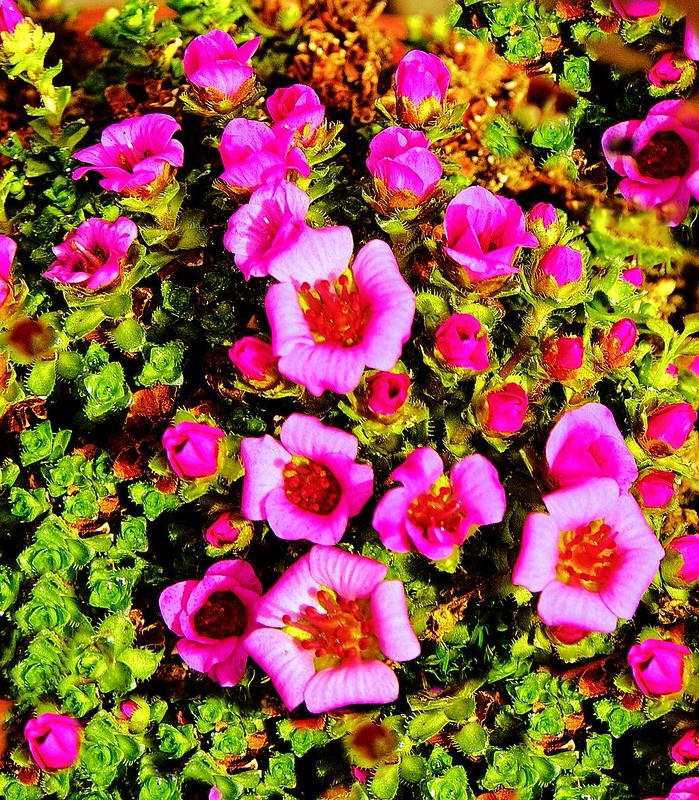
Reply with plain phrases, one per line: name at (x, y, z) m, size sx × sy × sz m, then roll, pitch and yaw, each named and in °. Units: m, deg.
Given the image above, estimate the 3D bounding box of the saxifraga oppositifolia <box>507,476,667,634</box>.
saxifraga oppositifolia at (0.402, 0.288, 1.804) m, size 0.301 × 0.119 × 0.295 m, roll -28°, pitch 88°, yaw -19°

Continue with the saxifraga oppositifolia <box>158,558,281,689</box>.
saxifraga oppositifolia at (-0.267, 0.461, 1.955) m, size 0.242 × 0.112 × 0.256 m, roll -14°, pitch 78°, yaw 14°

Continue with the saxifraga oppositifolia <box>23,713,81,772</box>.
saxifraga oppositifolia at (-0.619, 0.718, 1.977) m, size 0.093 × 0.091 × 0.086 m, roll 31°, pitch 70°, yaw 36°

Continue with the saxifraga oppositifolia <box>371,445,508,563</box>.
saxifraga oppositifolia at (0.156, 0.195, 1.752) m, size 0.243 × 0.181 × 0.184 m, roll -30°, pitch 70°, yaw -12°

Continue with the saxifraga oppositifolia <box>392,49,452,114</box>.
saxifraga oppositifolia at (0.157, -0.688, 2.028) m, size 0.116 × 0.124 × 0.099 m, roll -2°, pitch 67°, yaw 0°

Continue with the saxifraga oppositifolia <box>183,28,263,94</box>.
saxifraga oppositifolia at (-0.275, -0.737, 2.023) m, size 0.158 × 0.099 × 0.141 m, roll -3°, pitch 67°, yaw -1°

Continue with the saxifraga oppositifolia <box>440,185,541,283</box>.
saxifraga oppositifolia at (0.265, -0.307, 1.827) m, size 0.173 × 0.183 × 0.208 m, roll 1°, pitch 67°, yaw 1°

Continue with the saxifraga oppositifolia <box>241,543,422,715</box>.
saxifraga oppositifolia at (-0.024, 0.451, 1.776) m, size 0.289 × 0.243 × 0.307 m, roll -36°, pitch 71°, yaw -14°

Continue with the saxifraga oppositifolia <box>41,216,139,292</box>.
saxifraga oppositifolia at (-0.528, -0.299, 1.943) m, size 0.180 × 0.099 × 0.151 m, roll 10°, pitch 67°, yaw 4°

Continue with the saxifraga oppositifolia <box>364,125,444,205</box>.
saxifraga oppositifolia at (0.095, -0.472, 1.914) m, size 0.146 × 0.139 × 0.155 m, roll -18°, pitch 62°, yaw -7°
